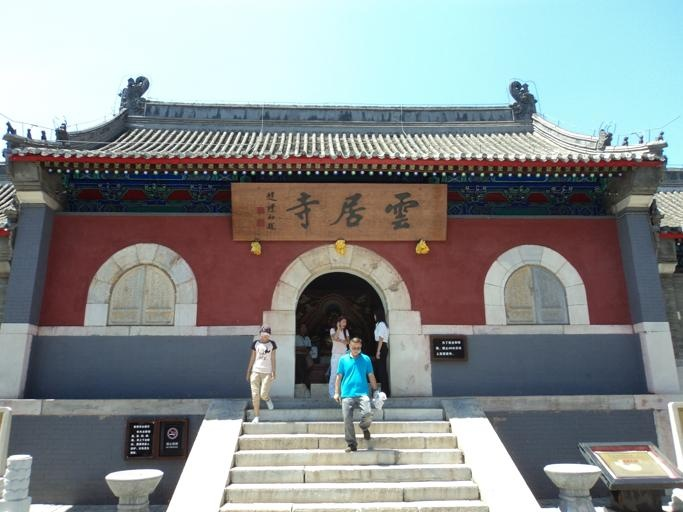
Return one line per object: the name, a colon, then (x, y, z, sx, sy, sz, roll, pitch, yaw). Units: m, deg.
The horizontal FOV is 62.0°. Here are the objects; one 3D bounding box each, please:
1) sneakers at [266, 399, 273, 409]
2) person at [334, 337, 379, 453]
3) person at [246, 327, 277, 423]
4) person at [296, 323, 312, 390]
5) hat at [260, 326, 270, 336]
sneakers: (-1.392, 2.900, 11.011, 0.105, 0.123, 0.286, -3, -35, -2)
person: (0.280, 2.485, 10.173, 0.698, 1.961, 0.607, 4, -17, -20)
person: (-1.535, 2.276, 10.842, 0.511, 1.746, 0.782, 1, -16, -10)
person: (-0.889, 2.423, 13.328, 0.370, 1.556, 0.980, -1, -16, -4)
hat: (-1.454, 1.435, 10.868, 0.176, 0.186, 0.331, 1, -16, -12)
